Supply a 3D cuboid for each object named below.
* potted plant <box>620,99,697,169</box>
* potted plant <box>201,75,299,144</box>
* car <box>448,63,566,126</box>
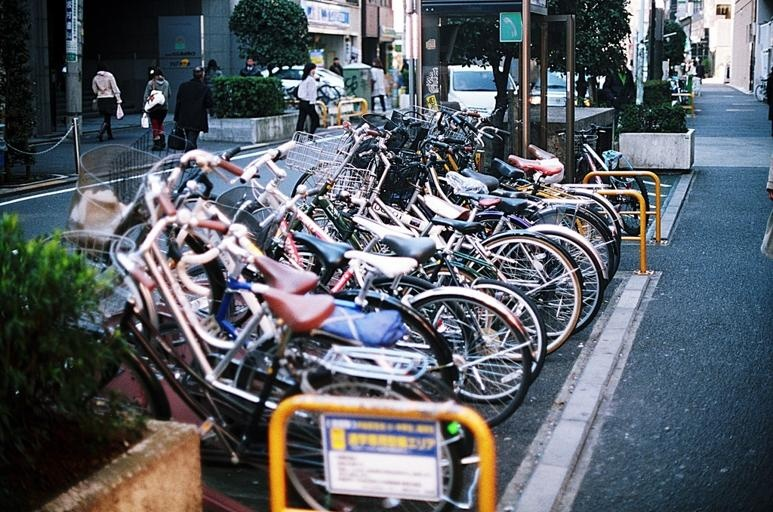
[{"bbox_3d":[6.320,-3.241,15.609,1.576,1.711,1.873,2,45,29],"label":"potted plant"},{"bbox_3d":[-4.048,-4.487,20.459,1.653,1.920,3.173,6,15,11],"label":"potted plant"},{"bbox_3d":[2.896,-4.634,17.455,2.193,2.074,3.988,-1,4,-2],"label":"car"}]
